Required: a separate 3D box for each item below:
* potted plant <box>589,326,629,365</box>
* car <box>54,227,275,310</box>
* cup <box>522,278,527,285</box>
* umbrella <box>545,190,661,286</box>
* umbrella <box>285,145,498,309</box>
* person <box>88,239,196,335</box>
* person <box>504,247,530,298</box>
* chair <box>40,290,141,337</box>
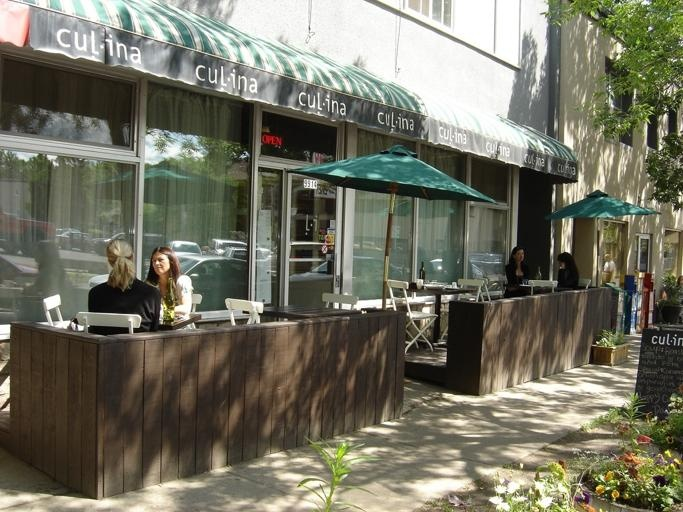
[{"bbox_3d":[4.928,1.663,11.680,0.415,0.538,0.979,7,6,39],"label":"potted plant"},{"bbox_3d":[-1.898,0.195,8.918,1.866,0.707,0.861,7,-2,-37],"label":"car"},{"bbox_3d":[3.574,0.498,12.433,0.099,0.116,0.198,2,4,20],"label":"cup"},{"bbox_3d":[5.164,-0.503,13.104,1.317,1.097,1.401,-1,-3,-14],"label":"umbrella"},{"bbox_3d":[0.615,-0.380,8.111,2.121,2.110,1.658,3,5,-7],"label":"umbrella"},{"bbox_3d":[-1.922,0.319,6.301,0.645,0.987,1.130,-2,-6,19],"label":"person"},{"bbox_3d":[3.303,0.268,11.924,0.453,0.863,1.906,5,5,16],"label":"person"},{"bbox_3d":[-2.499,0.606,6.168,0.612,0.393,1.843,0,6,-36],"label":"chair"}]
